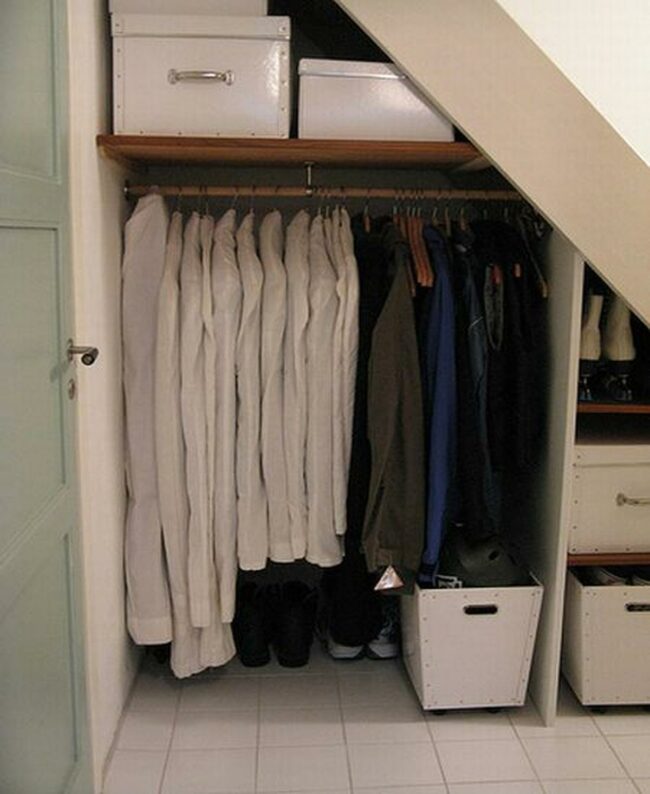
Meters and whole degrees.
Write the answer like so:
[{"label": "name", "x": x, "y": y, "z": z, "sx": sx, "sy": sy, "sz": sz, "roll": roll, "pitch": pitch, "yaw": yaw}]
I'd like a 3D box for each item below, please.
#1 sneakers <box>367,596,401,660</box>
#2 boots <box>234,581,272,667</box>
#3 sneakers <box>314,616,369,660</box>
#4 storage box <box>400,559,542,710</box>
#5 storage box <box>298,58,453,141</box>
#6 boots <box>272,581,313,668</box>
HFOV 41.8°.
[{"label": "sneakers", "x": 0.156, "y": 0.618, "z": 2.289, "sx": 0.089, "sy": 0.162, "sz": 0.076, "roll": 0, "pitch": 11, "yaw": -6}, {"label": "boots", "x": -0.207, "y": 0.591, "z": 2.248, "sx": 0.049, "sy": 0.227, "sz": 0.050, "roll": -6, "pitch": -19, "yaw": 40}, {"label": "sneakers", "x": 0.041, "y": 0.647, "z": 2.287, "sx": 0.059, "sy": 0.074, "sz": 0.167, "roll": 0, "pitch": 6, "yaw": -7}, {"label": "storage box", "x": 0.360, "y": 0.583, "z": 2.129, "sx": 0.246, "sy": 0.307, "sz": 0.324, "roll": -1, "pitch": -4, "yaw": 1}, {"label": "storage box", "x": 0.113, "y": -0.653, "z": 1.869, "sx": 0.337, "sy": 0.163, "sz": 0.052, "roll": 2, "pitch": 11, "yaw": 4}, {"label": "boots", "x": -0.090, "y": 0.599, "z": 2.310, "sx": 0.095, "sy": 0.207, "sz": 0.185, "roll": 0, "pitch": 4, "yaw": -8}]
